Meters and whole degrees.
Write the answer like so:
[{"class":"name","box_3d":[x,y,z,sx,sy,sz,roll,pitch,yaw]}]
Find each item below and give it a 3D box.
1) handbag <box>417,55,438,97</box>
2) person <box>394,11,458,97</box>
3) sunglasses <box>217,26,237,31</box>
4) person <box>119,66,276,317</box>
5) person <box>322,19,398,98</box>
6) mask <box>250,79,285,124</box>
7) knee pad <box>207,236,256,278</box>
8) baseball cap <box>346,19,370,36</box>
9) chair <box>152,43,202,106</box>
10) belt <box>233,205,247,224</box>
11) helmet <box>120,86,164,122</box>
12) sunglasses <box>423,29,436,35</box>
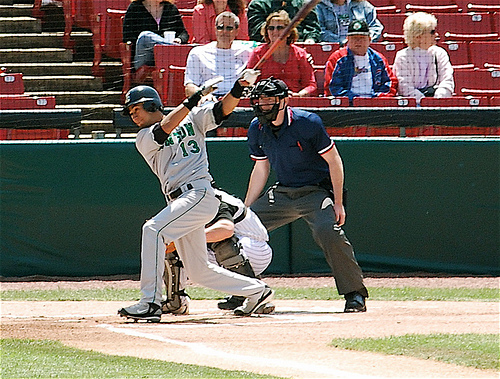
[{"class":"handbag","box_3d":[2.028,-1.260,10.733,0.266,0.378,0.159,4,2,34]},{"class":"person","box_3d":[1.957,-1.519,10.691,0.671,0.928,0.331,2,9,6]},{"class":"sunglasses","box_3d":[-0.266,-1.751,10.350,0.186,0.047,0.064,0,8,-2]},{"class":"person","box_3d":[-0.487,0.029,8.265,1.145,2.133,1.220,1,9,0]},{"class":"person","box_3d":[1.228,-1.386,10.448,0.862,0.891,0.645,-1,17,6]},{"class":"mask","box_3d":[0.141,-0.742,8.453,0.343,0.322,0.383,-3,-9,6]},{"class":"knee pad","box_3d":[-0.158,0.623,8.360,0.339,0.393,0.162,-29,10,12]},{"class":"baseball cap","box_3d":[1.175,-1.760,10.366,0.229,0.164,0.148,1,9,5]},{"class":"chair","box_3d":[-0.979,-1.292,10.757,0.563,0.634,0.515,0,6,-3]},{"class":"belt","box_3d":[-0.081,0.233,8.562,0.147,0.155,0.040,-6,11,-38]},{"class":"helmet","box_3d":[-0.953,-0.727,8.028,0.339,0.218,0.226,-15,-9,-17]},{"class":"sunglasses","box_3d":[2.018,-1.774,10.707,0.150,0.062,0.048,-5,10,-36]}]
